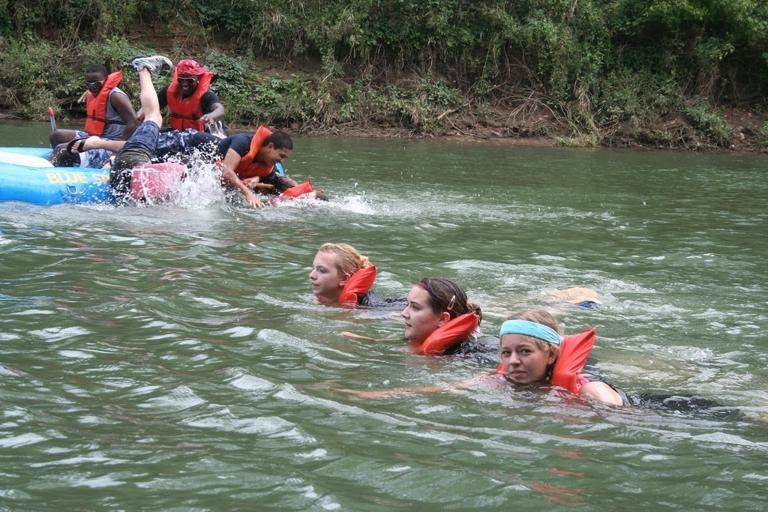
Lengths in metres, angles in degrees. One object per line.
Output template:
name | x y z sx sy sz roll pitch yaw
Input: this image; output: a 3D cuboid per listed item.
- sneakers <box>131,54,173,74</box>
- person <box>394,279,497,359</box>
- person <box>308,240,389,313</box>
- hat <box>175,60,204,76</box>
sneakers | -3.498 -2.806 11.838 0.777 0.195 0.233 -7 43 -27
person | 0.712 0.581 7.059 1.021 0.637 0.752 0 8 -11
person | -0.406 0.184 7.814 0.631 0.582 0.370 8 10 16
hat | -3.129 -2.990 12.642 0.590 0.154 0.491 0 9 -6
